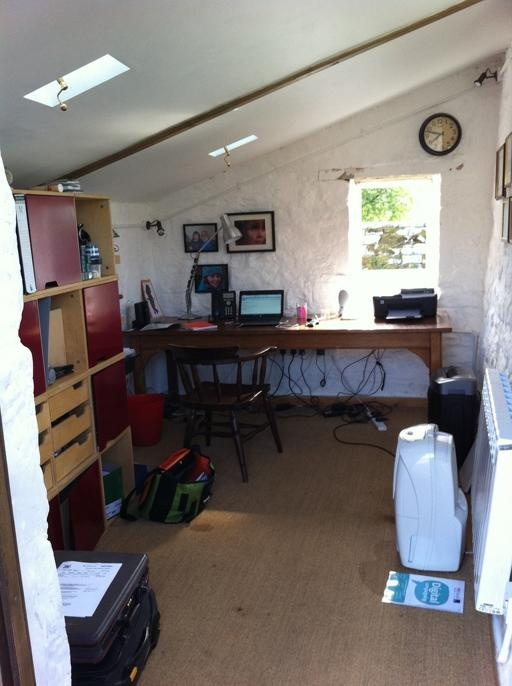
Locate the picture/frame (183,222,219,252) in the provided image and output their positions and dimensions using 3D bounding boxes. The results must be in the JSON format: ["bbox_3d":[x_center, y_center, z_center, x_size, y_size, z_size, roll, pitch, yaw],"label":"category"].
[{"bbox_3d":[-0.453,-0.902,4.279,0.243,0.209,0.026,1,10,7],"label":"picture/frame"}]

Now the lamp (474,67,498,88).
[{"bbox_3d":[1.580,-1.851,3.523,0.187,0.111,0.103,-8,12,-22],"label":"lamp"}]

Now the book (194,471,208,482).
[{"bbox_3d":[-0.291,0.715,2.715,0.037,0.061,0.044,0,-6,33],"label":"book"}]

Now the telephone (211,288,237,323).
[{"bbox_3d":[-0.260,-0.315,4.193,0.244,0.338,0.231,0,1,-1],"label":"telephone"}]

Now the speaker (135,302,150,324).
[{"bbox_3d":[-0.911,-0.241,4.058,0.079,0.150,0.159,2,6,4],"label":"speaker"}]

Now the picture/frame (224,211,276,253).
[{"bbox_3d":[-0.038,-0.924,4.134,0.332,0.283,0.025,-1,11,9],"label":"picture/frame"}]

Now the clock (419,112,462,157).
[{"bbox_3d":[1.343,-1.522,3.685,0.302,0.315,0.049,-2,11,20],"label":"clock"}]

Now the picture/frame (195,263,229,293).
[{"bbox_3d":[-0.369,-0.567,4.330,0.251,0.223,0.034,1,7,9],"label":"picture/frame"}]

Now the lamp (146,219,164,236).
[{"bbox_3d":[-0.853,-0.975,4.316,0.158,0.137,0.093,-5,11,-9],"label":"lamp"}]

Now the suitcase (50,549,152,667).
[{"bbox_3d":[-0.485,0.782,1.568,0.261,0.061,0.267,2,9,2],"label":"suitcase"}]

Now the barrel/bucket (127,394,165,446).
[{"bbox_3d":[-0.758,0.546,3.564,0.320,0.333,0.310,0,2,0],"label":"barrel/bucket"}]

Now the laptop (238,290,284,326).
[{"bbox_3d":[0.016,-0.304,4.011,0.359,0.262,0.298,1,7,10],"label":"laptop"}]

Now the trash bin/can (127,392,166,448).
[{"bbox_3d":[-0.763,0.537,3.555,0.324,0.335,0.313,0,2,3],"label":"trash bin/can"}]
